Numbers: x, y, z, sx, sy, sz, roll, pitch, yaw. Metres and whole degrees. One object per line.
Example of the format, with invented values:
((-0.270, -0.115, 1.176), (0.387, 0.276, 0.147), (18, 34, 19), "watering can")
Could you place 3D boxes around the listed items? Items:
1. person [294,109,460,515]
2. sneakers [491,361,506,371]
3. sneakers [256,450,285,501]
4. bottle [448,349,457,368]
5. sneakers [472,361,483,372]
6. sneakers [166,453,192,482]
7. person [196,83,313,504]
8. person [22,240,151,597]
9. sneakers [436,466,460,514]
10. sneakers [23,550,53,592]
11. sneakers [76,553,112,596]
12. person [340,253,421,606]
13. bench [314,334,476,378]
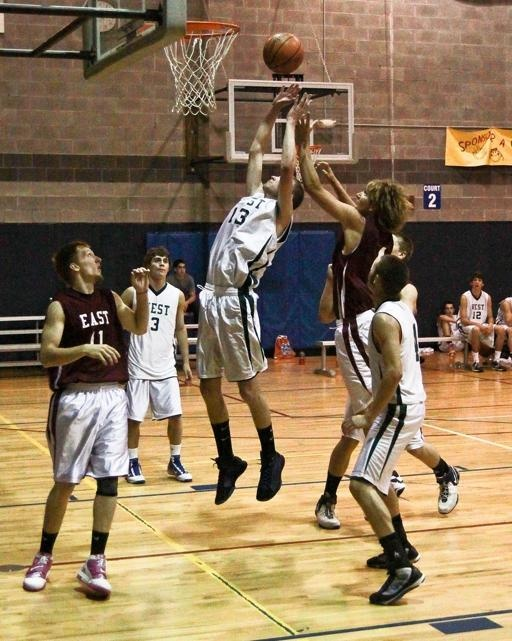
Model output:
((0.619, 0.027, 4.223), (0.860, 2.162, 0.586), (3, -12, -17), "person")
((3.622, 0.684, 11.557), (0.210, 0.136, 0.259), (0, 1, 10), "sneakers")
((0.084, 0.780, 3.885), (0.093, 0.295, 0.121), (-11, -36, 43), "sneakers")
((3.041, 0.604, 12.047), (0.081, 0.261, 0.183), (-1, 39, 7), "bottle")
((3.245, 0.689, 11.427), (0.144, 0.134, 0.243), (0, 1, 15), "sneakers")
((-0.499, 0.994, 5.276), (0.153, 0.161, 0.276), (-1, 1, -20), "sneakers")
((-0.021, -0.123, 3.845), (0.542, 2.116, 0.418), (0, 0, 3), "person")
((-0.676, 0.388, 3.167), (0.519, 1.434, 0.519), (0, 0, -18), "person")
((1.069, 0.953, 4.401), (0.123, 0.306, 0.097), (23, -25, -27), "sneakers")
((-0.885, 1.024, 3.172), (0.062, 0.082, 0.184), (13, 8, -10), "sneakers")
((-0.628, 0.999, 3.095), (0.186, 0.139, 0.070), (15, -6, 44), "sneakers")
((0.513, 0.423, 3.133), (0.319, 1.360, 0.533), (0, 0, 12), "person")
((2.123, 0.566, 11.862), (2.386, 0.605, 0.753), (-2, 12, -4), "bench")
